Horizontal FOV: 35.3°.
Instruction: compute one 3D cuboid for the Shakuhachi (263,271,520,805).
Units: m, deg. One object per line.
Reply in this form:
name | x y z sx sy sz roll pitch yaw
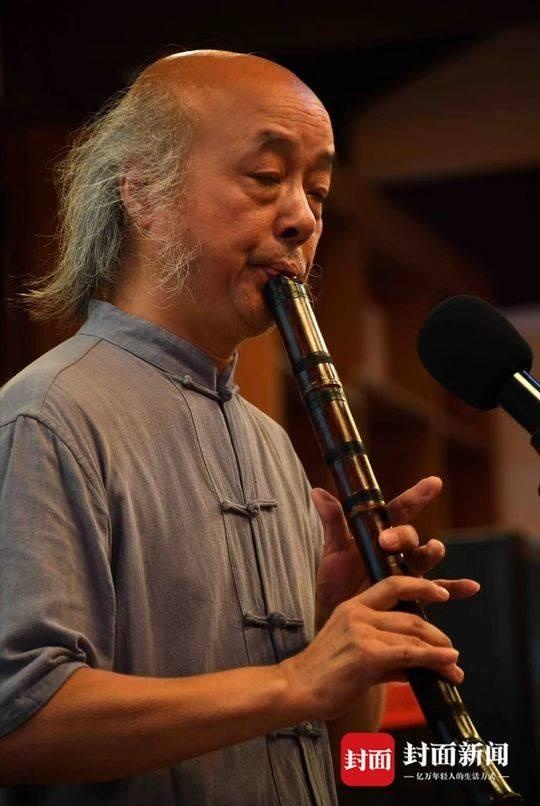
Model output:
Shakuhachi | 0.015 0.016 1.165 0.163 0.152 1.055 -13 53 -9
